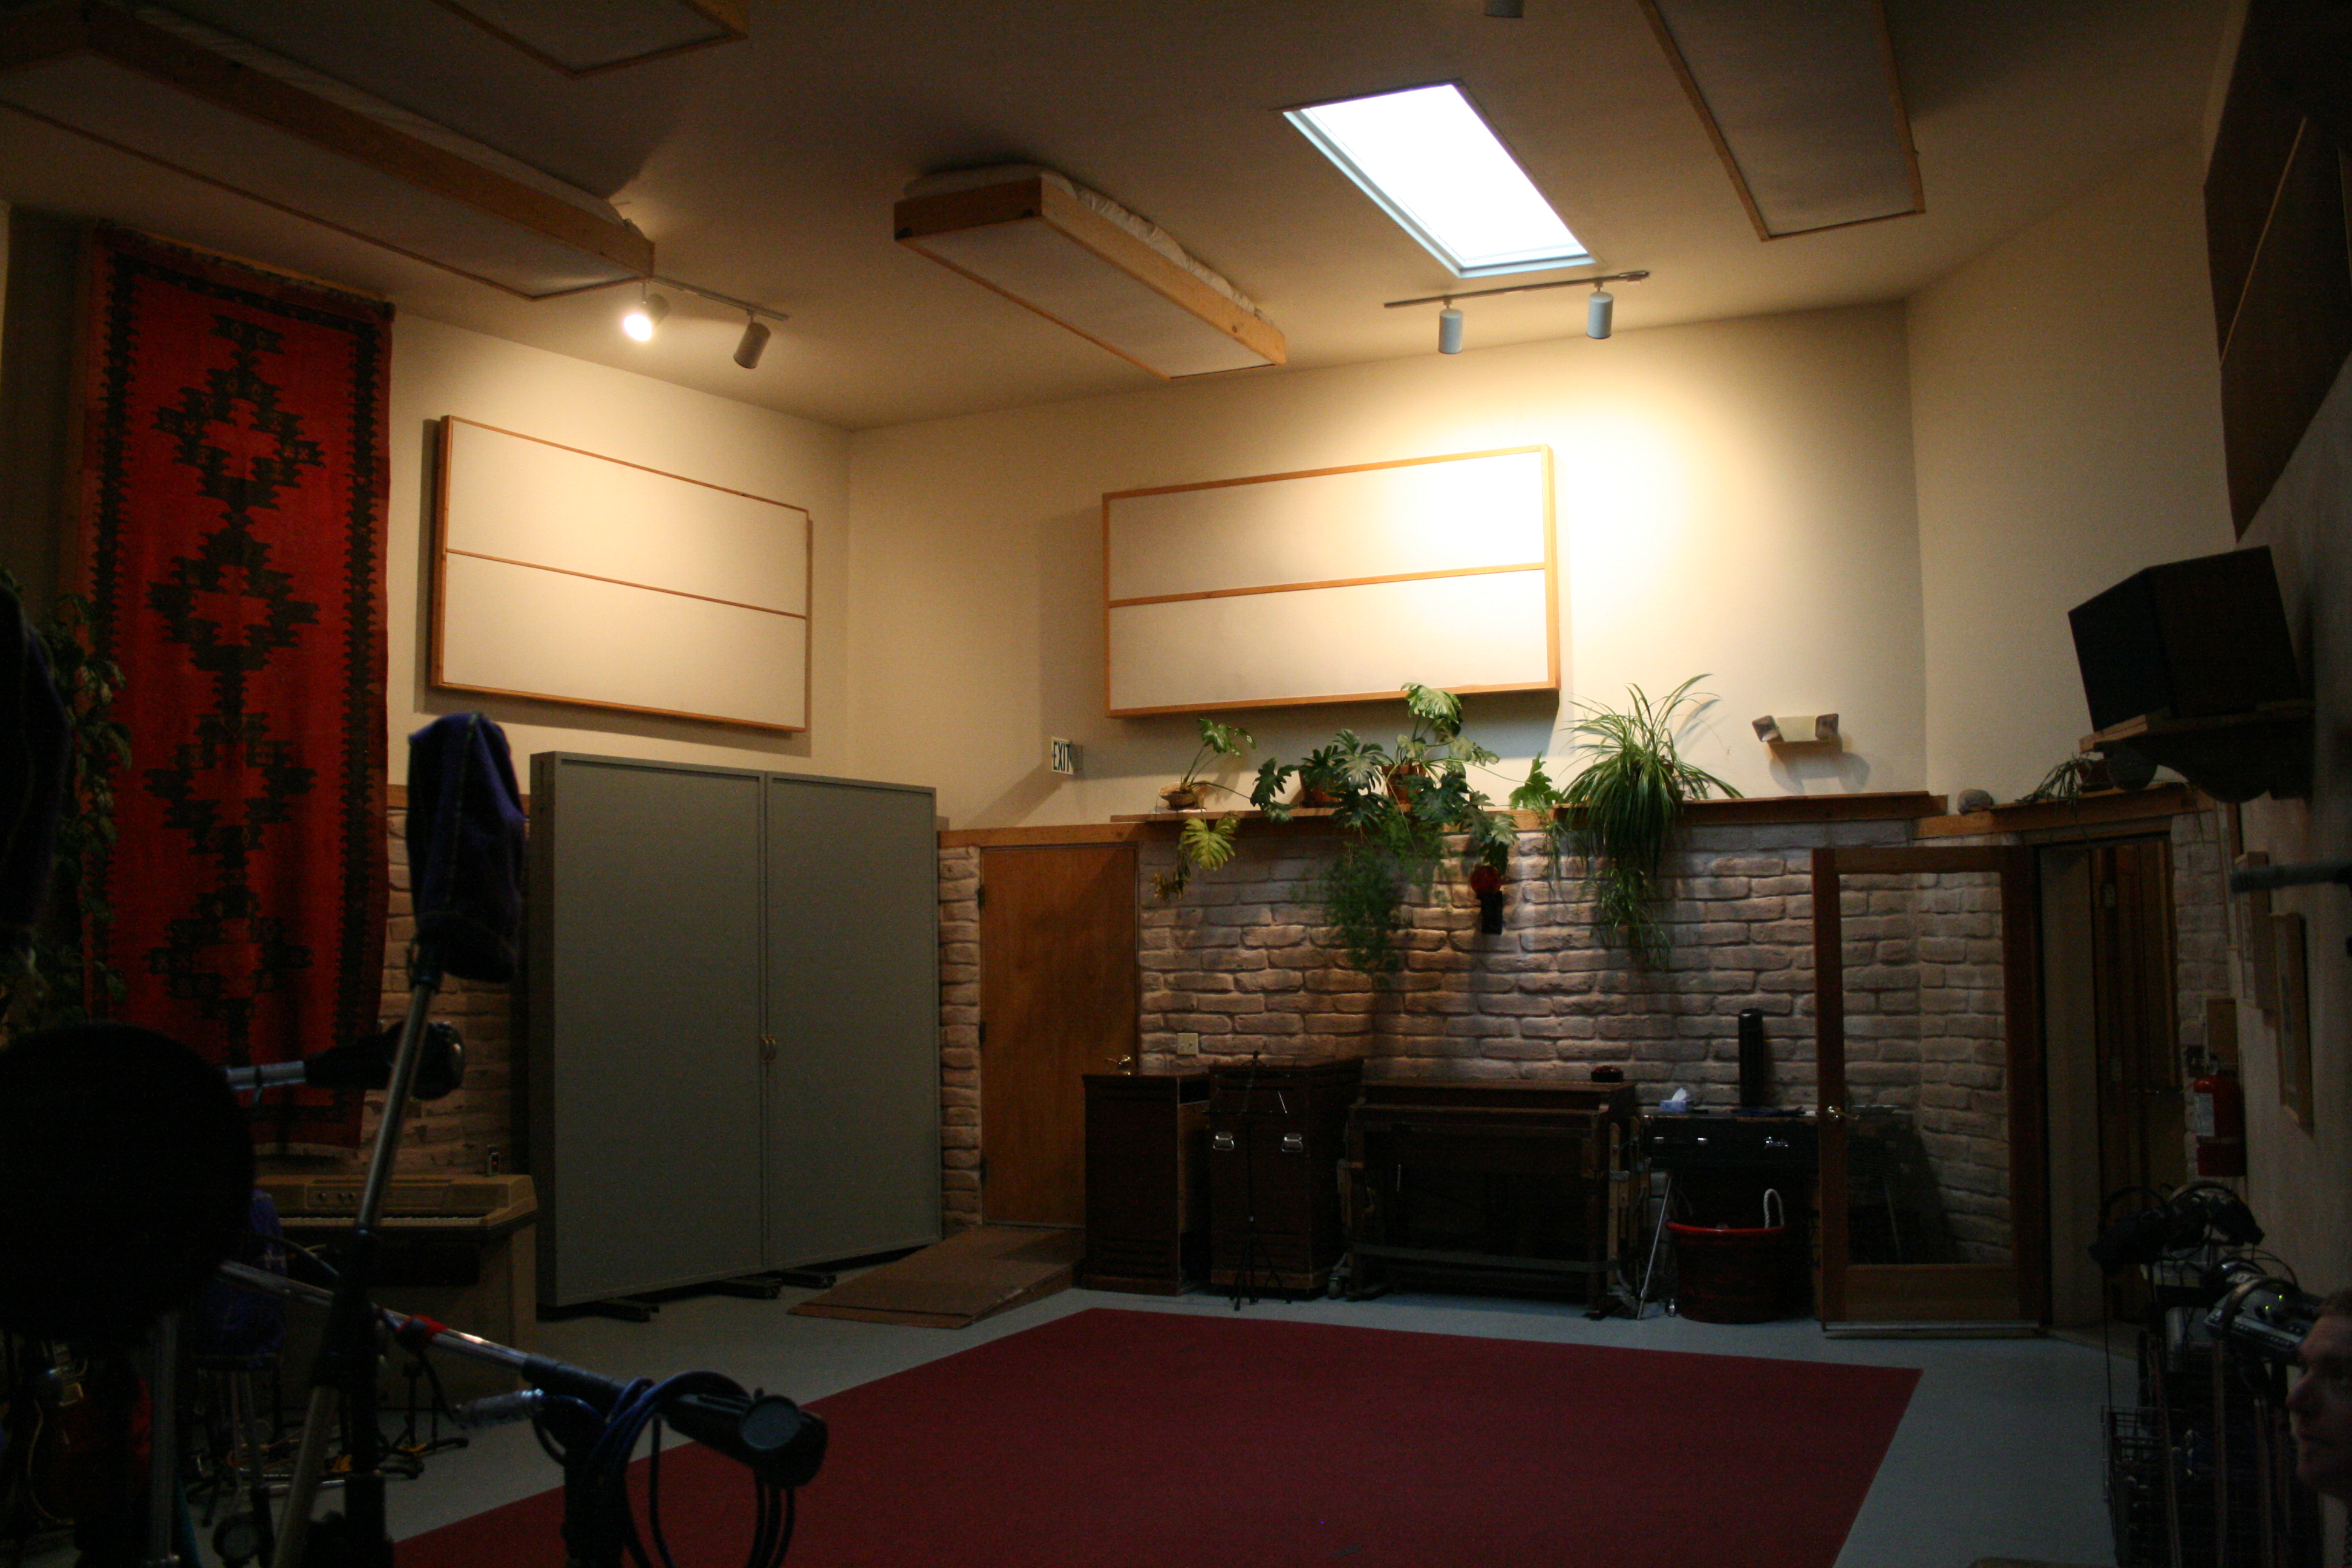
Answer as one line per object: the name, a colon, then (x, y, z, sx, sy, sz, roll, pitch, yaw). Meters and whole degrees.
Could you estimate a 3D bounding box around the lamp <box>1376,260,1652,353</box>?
lamp: (1.754, -2.379, 8.879, 1.347, 0.330, 0.766, -1, 0, 13)

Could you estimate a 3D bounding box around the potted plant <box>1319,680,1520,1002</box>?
potted plant: (1.093, 0.299, 9.046, 1.339, 2.011, 1.296, 2, 0, 11)

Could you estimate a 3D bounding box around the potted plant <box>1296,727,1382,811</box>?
potted plant: (0.874, -0.071, 9.196, 0.406, 0.293, 0.415, -2, -4, 28)

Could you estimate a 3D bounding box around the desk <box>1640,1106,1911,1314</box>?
desk: (2.846, 2.028, 8.165, 0.789, 1.034, 0.995, -4, -10, 29)

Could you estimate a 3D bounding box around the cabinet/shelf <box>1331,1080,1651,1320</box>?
cabinet/shelf: (1.581, 2.026, 8.649, 1.464, 1.121, 0.761, -1, -1, 17)

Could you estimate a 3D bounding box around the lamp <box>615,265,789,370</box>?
lamp: (-2.472, -2.364, 8.860, 0.857, 0.343, 1.014, -1, 0, -19)

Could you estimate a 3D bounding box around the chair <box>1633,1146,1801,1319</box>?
chair: (2.565, 2.219, 8.245, 0.632, 0.688, 0.796, -8, -18, 34)

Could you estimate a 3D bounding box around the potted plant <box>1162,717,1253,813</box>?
potted plant: (0.163, -0.109, 9.709, 0.502, 0.549, 0.365, -1, -1, 10)

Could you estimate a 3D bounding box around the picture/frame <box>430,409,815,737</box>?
picture/frame: (-3.106, -1.139, 9.297, 0.186, 1.225, 1.949, -8, -10, 42)
